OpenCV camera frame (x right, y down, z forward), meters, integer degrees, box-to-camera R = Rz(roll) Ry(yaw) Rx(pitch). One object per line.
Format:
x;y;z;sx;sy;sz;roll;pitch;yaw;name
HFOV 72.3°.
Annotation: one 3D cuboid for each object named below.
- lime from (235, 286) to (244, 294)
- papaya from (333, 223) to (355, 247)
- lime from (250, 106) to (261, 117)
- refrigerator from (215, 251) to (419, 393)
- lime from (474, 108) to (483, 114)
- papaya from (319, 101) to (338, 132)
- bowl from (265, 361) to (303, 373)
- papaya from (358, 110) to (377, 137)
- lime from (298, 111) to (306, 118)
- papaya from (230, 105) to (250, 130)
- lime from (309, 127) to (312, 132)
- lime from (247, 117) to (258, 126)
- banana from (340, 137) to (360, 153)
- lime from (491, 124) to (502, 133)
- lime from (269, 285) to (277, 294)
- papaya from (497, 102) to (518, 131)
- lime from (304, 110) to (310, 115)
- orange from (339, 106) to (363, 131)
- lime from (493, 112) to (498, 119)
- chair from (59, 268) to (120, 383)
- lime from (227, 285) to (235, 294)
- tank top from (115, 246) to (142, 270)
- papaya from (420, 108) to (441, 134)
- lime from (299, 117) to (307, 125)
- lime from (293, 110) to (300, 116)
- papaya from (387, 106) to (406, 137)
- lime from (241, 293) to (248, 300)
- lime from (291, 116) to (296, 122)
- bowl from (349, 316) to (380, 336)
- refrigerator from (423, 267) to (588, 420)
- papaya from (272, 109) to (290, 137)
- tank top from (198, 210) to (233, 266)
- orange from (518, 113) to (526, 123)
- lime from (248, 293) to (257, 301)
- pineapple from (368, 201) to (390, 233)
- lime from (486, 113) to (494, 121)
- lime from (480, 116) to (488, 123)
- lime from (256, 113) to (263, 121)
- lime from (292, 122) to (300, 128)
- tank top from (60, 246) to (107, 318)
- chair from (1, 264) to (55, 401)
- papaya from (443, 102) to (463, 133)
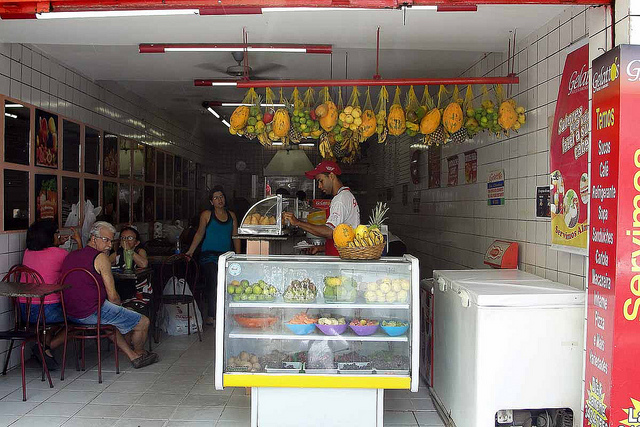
-0.725;0.680;3.951;0.063;0.064;0.063;1;-1;0;lime
0.217;0.214;4.165;0.168;0.190;0.185;-7;-15;41;papaya
-0.755;-1.186;5.084;0.102;0.081;0.116;-4;3;-39;lime
-0.023;0.963;3.967;1.769;1.182;0.355;1;5;2;refrigerator
1.730;-1.140;4.838;0.056;0.041;0.073;-1;5;2;lime
0.113;-1.086;4.920;0.198;0.311;0.187;2;1;32;papaya
-0.331;1.368;3.930;0.199;0.036;0.135;2;8;2;bowl
0.551;-1.037;5.026;0.169;0.297;0.241;5;7;38;papaya
-0.212;-1.126;4.937;0.051;0.054;0.069;2;6;4;lime
-0.922;-1.119;5.053;0.213;0.287;0.119;0;5;-9;papaya
-0.110;-0.963;5.005;0.029;0.047;0.021;1;5;-1;lime
-0.786;-1.071;5.082;0.088;0.089;0.058;-42;-3;8;lime
0.355;-0.840;5.316;0.063;0.194;0.191;-14;-7;20;banana
1.893;-0.923;4.743;0.078;0.044;0.078;-7;-18;23;lime
-0.434;0.684;3.980;0.056;0.068;0.020;-2;13;-4;lime
1.942;-1.027;4.589;0.186;0.268;0.166;7;-3;-33;papaya
-0.149;-1.148;4.948;0.049;0.060;0.050;0;-11;7;lime
0.333;-1.074;4.926;0.229;0.231;0.095;-7;-37;-12;orange
1.874;-1.058;4.707;0.049;0.068;0.032;5;6;36;lime
-2.805;1.253;5.304;0.634;1.356;1.107;-3;6;-32;chair
-0.788;0.680;3.943;0.060;0.074;0.061;3;-24;-1;lime
-2.620;0.624;6.017;0.344;0.280;0.823;-2;6;-25;tank top
1.227;-1.035;4.958;0.188;0.281;0.172;32;13;-22;papaya
-0.193;-1.051;4.948;0.083;0.076;0.029;0;5;-10;lime
-0.271;-1.139;4.951;0.056;0.044;0.043;-16;-30;-25;lime
0.852;-1.041;4.915;0.198;0.299;0.189;2;4;-6;papaya
-0.683;0.749;3.966;0.053;0.040;0.051;0;-1;7;lime
-0.313;-1.080;4.985;0.059;0.050;0.050;19;51;23;lime
0.393;1.007;3.971;0.179;0.105;0.182;1;-9;0;bowl
1.691;1.335;4.150;0.954;1.441;1.089;0;5;-8;refrigerator
-0.442;-1.015;4.943;0.168;0.293;0.181;-1;3;32;papaya
-1.591;0.374;6.727;0.493;0.828;0.324;0;5;-12;tank top
2.107;-1.006;4.598;0.065;0.083;0.063;-13;-38;-25;orange
-0.615;0.760;3.972;0.057;0.058;0.021;-6;1;-4;lime
0.563;0.029;4.389;0.127;0.284;0.730;2;5;10;pineapple
1.827;-1.050;4.737;0.077;0.067;0.066;-4;-12;3;lime
1.776;-1.026;4.764;0.057;0.059;0.032;-3;-17;5;lime
-0.689;-1.123;5.068;0.060;0.063;0.081;26;19;-6;lime
-0.269;-1.017;4.977;0.062;0.043;0.075;-2;5;1;lime
-2.756;0.800;5.061;0.534;0.813;0.312;0;5;-4;tank top
-3.374;1.256;5.024;0.524;1.339;1.131;-3;6;-32;chair
1.436;-1.038;4.842;0.194;0.305;0.184;13;-3;-22;papaya
